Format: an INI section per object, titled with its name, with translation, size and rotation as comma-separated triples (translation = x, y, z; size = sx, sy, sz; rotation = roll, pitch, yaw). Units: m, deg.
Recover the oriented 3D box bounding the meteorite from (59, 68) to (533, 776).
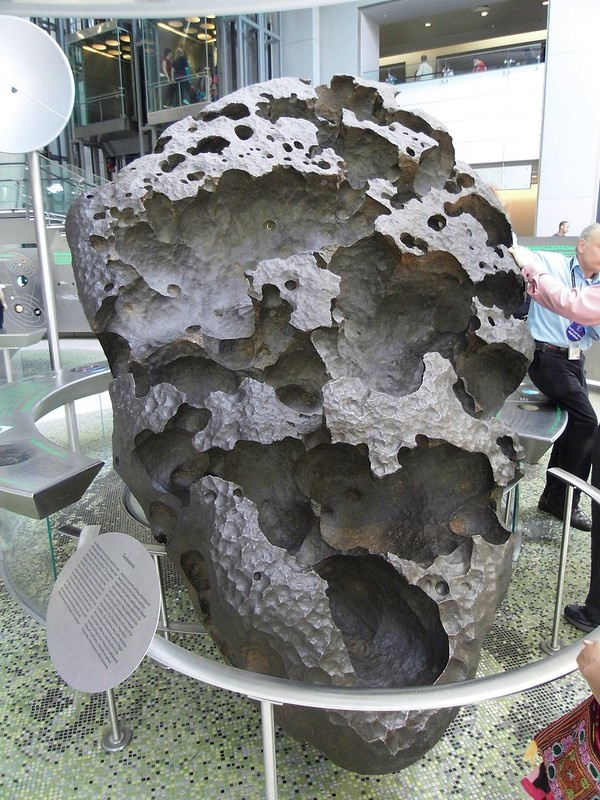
[meteorite]
translation = 0.118, -0.194, 2.037
size = 1.263, 1.552, 1.496
rotation = -17, 29, -35
